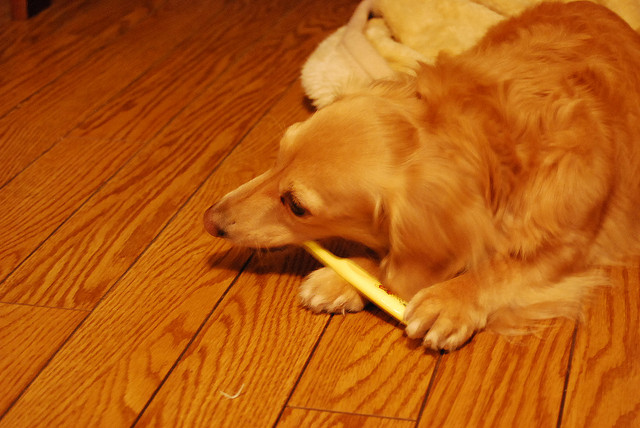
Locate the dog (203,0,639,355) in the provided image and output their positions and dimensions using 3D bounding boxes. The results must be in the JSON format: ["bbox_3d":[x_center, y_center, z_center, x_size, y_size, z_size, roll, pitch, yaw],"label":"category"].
[{"bbox_3d":[0.484,0.005,2.027,1.179,0.423,0.913,-19,55,1],"label":"dog"}]
